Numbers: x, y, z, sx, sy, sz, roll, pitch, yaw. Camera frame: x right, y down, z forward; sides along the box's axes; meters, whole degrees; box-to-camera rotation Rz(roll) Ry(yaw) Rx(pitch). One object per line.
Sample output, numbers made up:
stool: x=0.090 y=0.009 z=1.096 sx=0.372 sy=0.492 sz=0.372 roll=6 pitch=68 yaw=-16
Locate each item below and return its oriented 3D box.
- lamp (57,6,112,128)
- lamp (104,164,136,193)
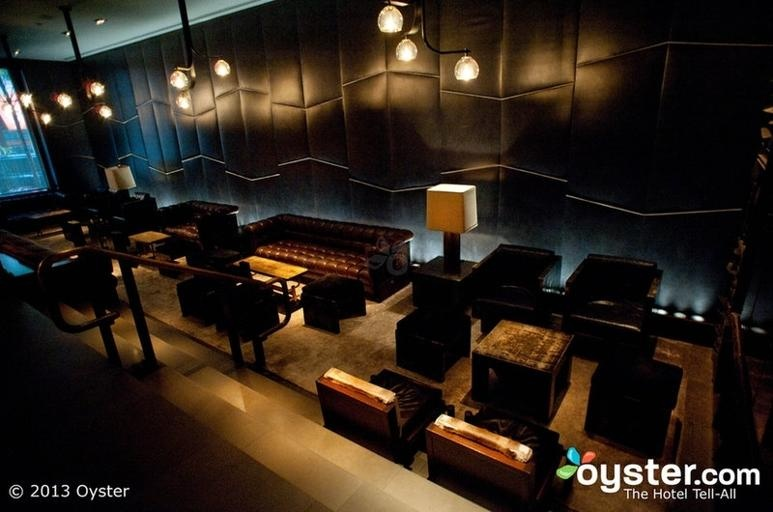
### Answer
lamp: x=-5.716 y=-3.411 z=9.560 sx=0.711 sy=1.767 sz=5.324 roll=-2 pitch=14 yaw=-29
lamp: x=-5.155 y=-1.518 z=9.596 sx=0.391 sy=0.485 sz=0.434 roll=13 pitch=14 yaw=27
